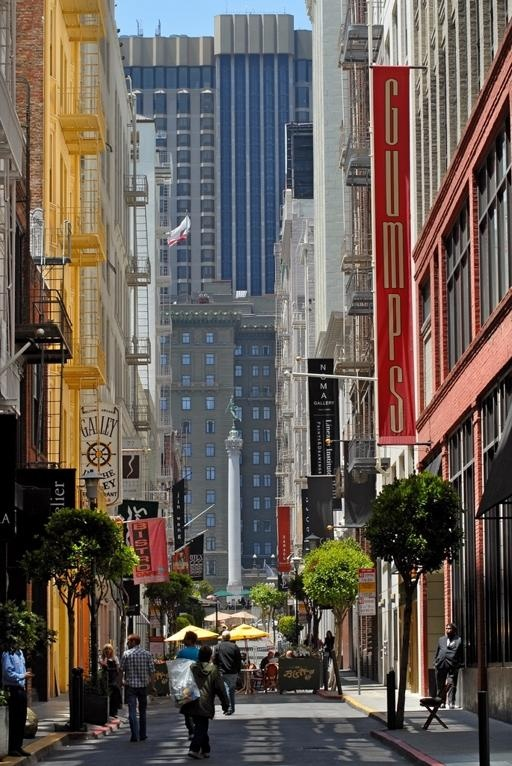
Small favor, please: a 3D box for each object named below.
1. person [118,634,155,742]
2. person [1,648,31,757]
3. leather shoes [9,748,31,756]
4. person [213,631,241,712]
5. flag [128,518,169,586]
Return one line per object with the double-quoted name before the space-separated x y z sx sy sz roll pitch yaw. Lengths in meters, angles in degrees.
"person" -1.957 5.094 32.605 0.397 1.887 0.471 0 8 -4
"person" -3.583 4.773 29.190 0.348 1.656 2.042 0 -9 -7
"leather shoes" -3.405 5.393 28.305 0.270 0.175 0.114 -1 -6 0
"person" -0.550 5.959 39.729 0.391 1.693 0.509 -1 -14 1
"flag" -2.926 4.644 53.741 1.032 0.216 2.401 -2 41 -8
